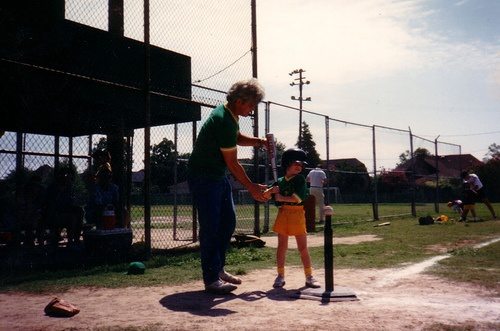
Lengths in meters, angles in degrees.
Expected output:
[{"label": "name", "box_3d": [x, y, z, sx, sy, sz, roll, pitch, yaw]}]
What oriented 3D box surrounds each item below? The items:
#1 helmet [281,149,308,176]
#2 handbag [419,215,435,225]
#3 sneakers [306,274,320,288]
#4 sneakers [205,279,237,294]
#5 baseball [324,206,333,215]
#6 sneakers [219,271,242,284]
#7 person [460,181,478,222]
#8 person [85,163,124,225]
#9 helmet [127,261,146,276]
[{"label": "helmet", "box_3d": [0.795, -0.129, 8.465, 0.338, 0.361, 0.437, 3, -1, -26]}, {"label": "handbag", "box_3d": [5.278, 1.618, 15.244, 0.293, 0.194, 0.416, 0, 1, 19]}, {"label": "sneakers", "box_3d": [1.004, 1.805, 8.039, 0.226, 0.176, 0.183, -2, -5, 3]}, {"label": "sneakers", "box_3d": [-0.445, 1.846, 7.848, 0.482, 0.243, 0.199, -1, -5, 5]}, {"label": "baseball", "box_3d": [1.192, 0.673, 7.691, 0.112, 0.101, 0.114, 1, -5, -21]}, {"label": "sneakers", "box_3d": [-0.309, 1.760, 8.154, 0.430, 0.198, 0.153, 5, 1, -3]}, {"label": "person", "box_3d": [6.698, 1.073, 15.740, 0.506, 1.242, 0.849, -4, -5, 24]}, {"label": "person", "box_3d": [-3.216, 0.700, 11.331, 0.617, 1.294, 1.410, 0, -6, -25]}, {"label": "helmet", "box_3d": [-1.931, 1.742, 8.684, 0.227, 0.215, 0.190, -6, -12, 0]}]
